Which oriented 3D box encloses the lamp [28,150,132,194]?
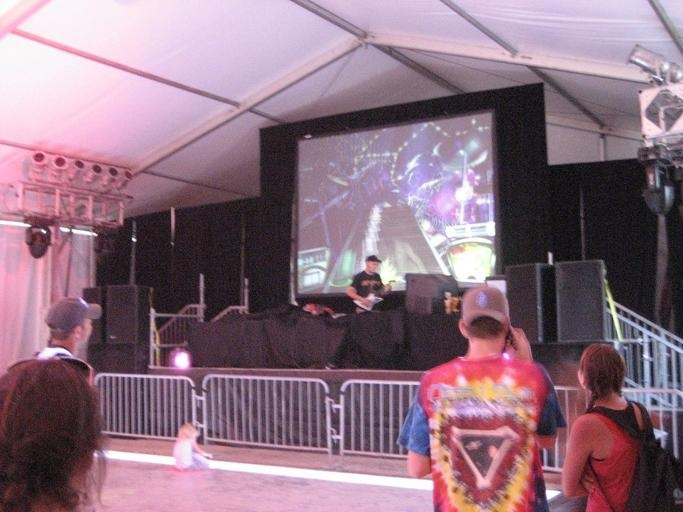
[{"bbox_3d":[-4.759,-1.538,11.158,0.664,0.676,1.924,-6,-8,32],"label":"lamp"}]

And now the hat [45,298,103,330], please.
[{"bbox_3d":[-1.736,0.407,4.036,0.210,0.155,0.302,24,30,36],"label":"hat"}]

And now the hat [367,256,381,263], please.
[{"bbox_3d":[0.558,0.045,10.591,0.190,0.098,0.136,-4,-3,9],"label":"hat"}]

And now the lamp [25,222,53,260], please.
[{"bbox_3d":[-5.329,-0.293,10.783,0.424,0.574,0.587,1,-5,-26],"label":"lamp"}]

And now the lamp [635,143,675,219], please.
[{"bbox_3d":[3.835,-0.920,7.392,0.393,0.752,0.715,-5,-8,29],"label":"lamp"}]

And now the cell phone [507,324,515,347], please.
[{"bbox_3d":[0.795,0.372,2.873,0.038,0.097,0.029,2,-1,12],"label":"cell phone"}]

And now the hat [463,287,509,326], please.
[{"bbox_3d":[0.671,0.230,2.884,0.247,0.184,0.347,-4,7,13],"label":"hat"}]

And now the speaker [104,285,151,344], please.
[{"bbox_3d":[-3.706,1.080,10.616,0.724,1.030,0.712,6,-5,-41],"label":"speaker"}]
